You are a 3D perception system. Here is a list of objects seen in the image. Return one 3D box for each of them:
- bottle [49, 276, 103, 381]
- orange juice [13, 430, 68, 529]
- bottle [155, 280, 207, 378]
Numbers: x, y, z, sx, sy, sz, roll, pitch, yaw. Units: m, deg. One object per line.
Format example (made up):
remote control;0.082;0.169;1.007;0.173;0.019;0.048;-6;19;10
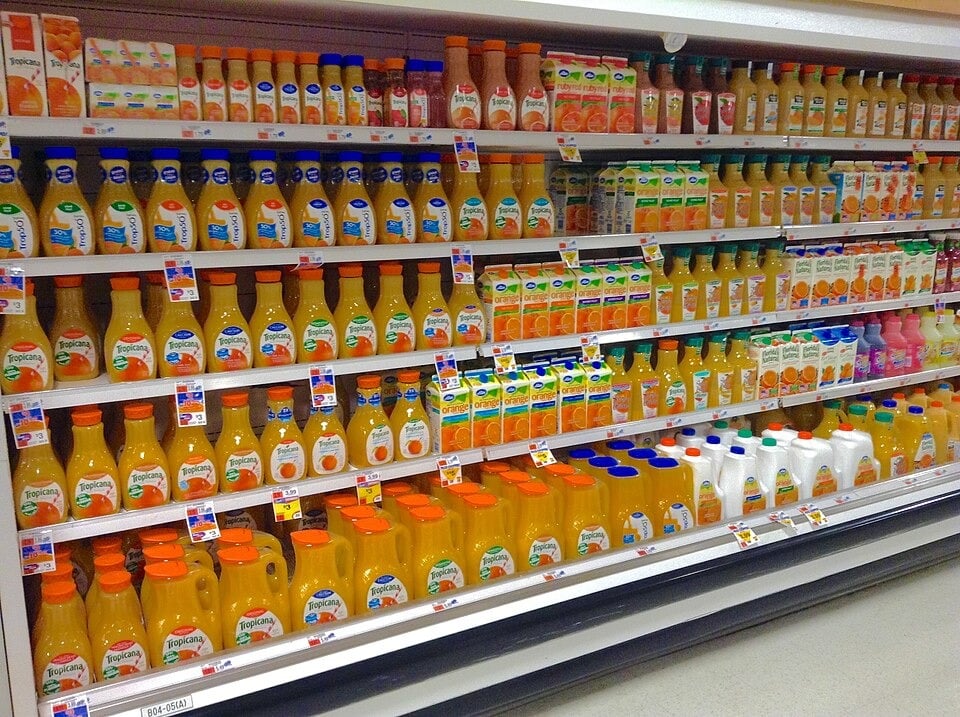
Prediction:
bottle;-1.416;-0.089;2.491;0.153;0.360;0.201;-12;-6;-27
orange juice;-1.444;0.423;2.351;0.155;0.266;0.071;-11;-7;-33
bottle;-1.067;-0.087;2.525;0.170;0.321;0.090;-12;-6;-25
